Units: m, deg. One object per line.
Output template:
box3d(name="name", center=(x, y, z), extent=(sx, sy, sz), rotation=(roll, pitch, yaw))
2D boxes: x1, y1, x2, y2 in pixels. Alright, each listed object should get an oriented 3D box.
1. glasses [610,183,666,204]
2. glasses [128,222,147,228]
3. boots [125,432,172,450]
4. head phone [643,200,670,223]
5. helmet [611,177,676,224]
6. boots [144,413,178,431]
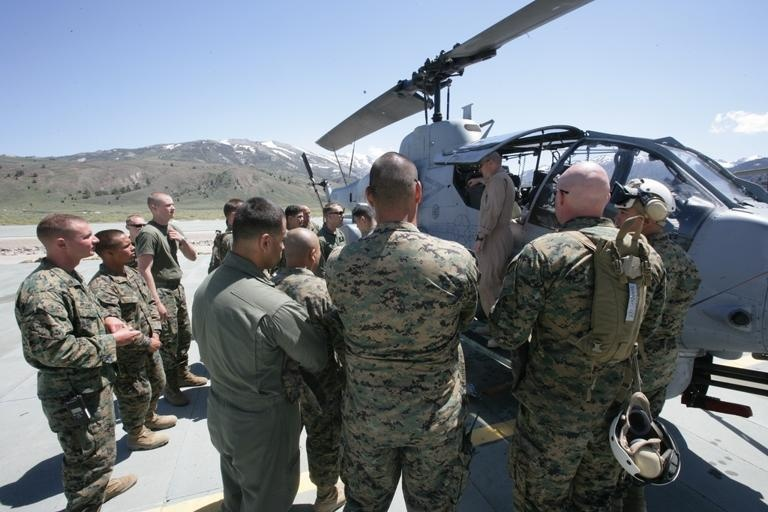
box3d(name="glasses", center=(2.226, -0.555, 4.448), extent=(0.335, 0.122, 0.240), rotation=(7, 3, 13))
box3d(name="glasses", center=(-3.010, -0.381, 6.216), extent=(0.145, 0.038, 0.138), rotation=(4, 6, 37))
box3d(name="boots", center=(-2.459, 1.891, 5.243), extent=(0.375, 0.141, 0.190), rotation=(-3, 13, -22))
box3d(name="head phone", center=(2.288, -0.381, 4.340), extent=(0.162, 0.133, 0.203), rotation=(21, -15, -19))
box3d(name="helmet", center=(2.275, -0.508, 4.414), extent=(0.503, 0.262, 0.436), rotation=(12, 12, 25))
box3d(name="boots", center=(-2.426, 1.783, 5.554), extent=(0.368, 0.128, 0.121), rotation=(-3, 33, -28))
